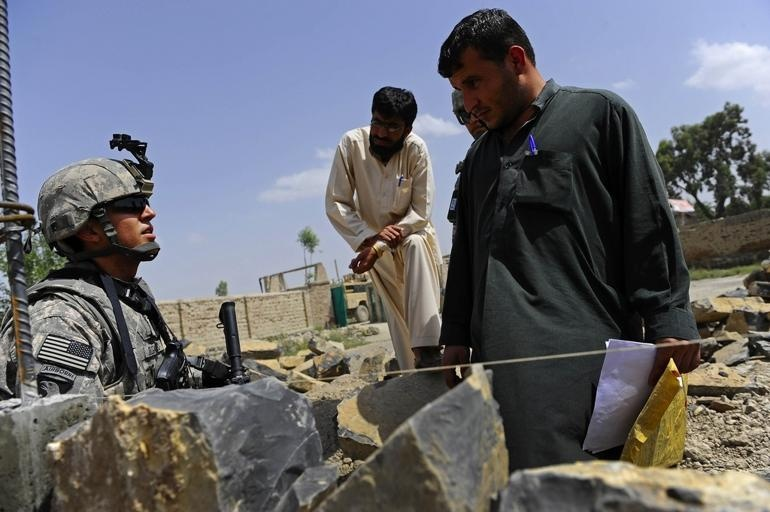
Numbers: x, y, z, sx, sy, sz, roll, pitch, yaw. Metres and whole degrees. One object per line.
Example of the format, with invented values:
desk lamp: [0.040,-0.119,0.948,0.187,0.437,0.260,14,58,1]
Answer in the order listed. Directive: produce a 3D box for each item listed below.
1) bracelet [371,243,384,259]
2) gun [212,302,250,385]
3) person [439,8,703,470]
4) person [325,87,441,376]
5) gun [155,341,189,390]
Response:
bracelet: [-0.054,-0.040,4.113,0.075,0.102,0.045,24,5,35]
gun: [-0.904,0.596,3.379,0.161,0.628,0.183,-9,16,-10]
person: [0.798,-0.188,2.852,1.260,1.790,0.809,-8,-5,24]
person: [-0.018,-0.195,4.302,0.865,2.171,0.903,-6,-4,1]
gun: [-1.156,0.590,3.001,0.099,0.246,0.264,-4,5,2]
